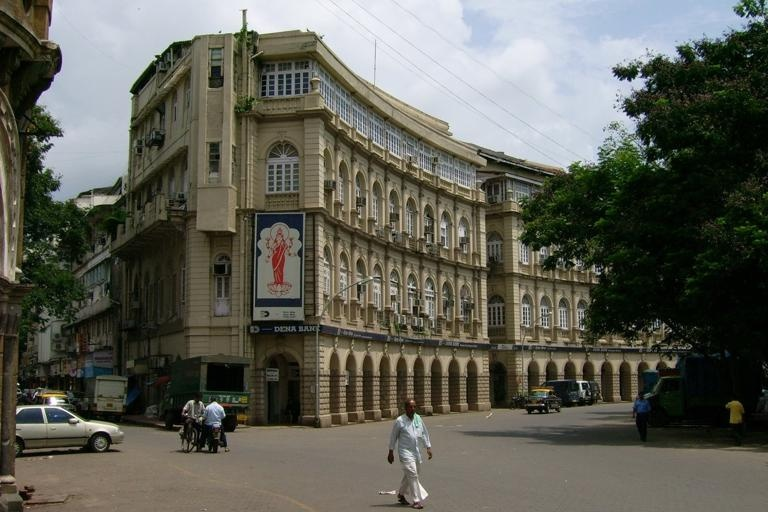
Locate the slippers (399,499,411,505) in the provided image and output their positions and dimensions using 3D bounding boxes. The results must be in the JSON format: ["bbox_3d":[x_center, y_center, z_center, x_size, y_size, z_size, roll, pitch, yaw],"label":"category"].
[{"bbox_3d":[0.561,7.010,28.571,0.273,0.119,0.134,-8,-9,23],"label":"slippers"}]

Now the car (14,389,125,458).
[{"bbox_3d":[-12.005,6.770,38.057,5.870,2.096,2.537,3,-6,-35],"label":"car"}]

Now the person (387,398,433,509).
[{"bbox_3d":[0.815,5.620,28.778,1.184,3.084,1.537,-2,-2,-19],"label":"person"}]

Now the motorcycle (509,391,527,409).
[{"bbox_3d":[10.493,11.452,79.179,1.031,1.335,2.154,1,-3,5],"label":"motorcycle"}]

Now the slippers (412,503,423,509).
[{"bbox_3d":[0.931,6.985,28.110,0.352,0.183,0.308,1,-14,-2],"label":"slippers"}]
